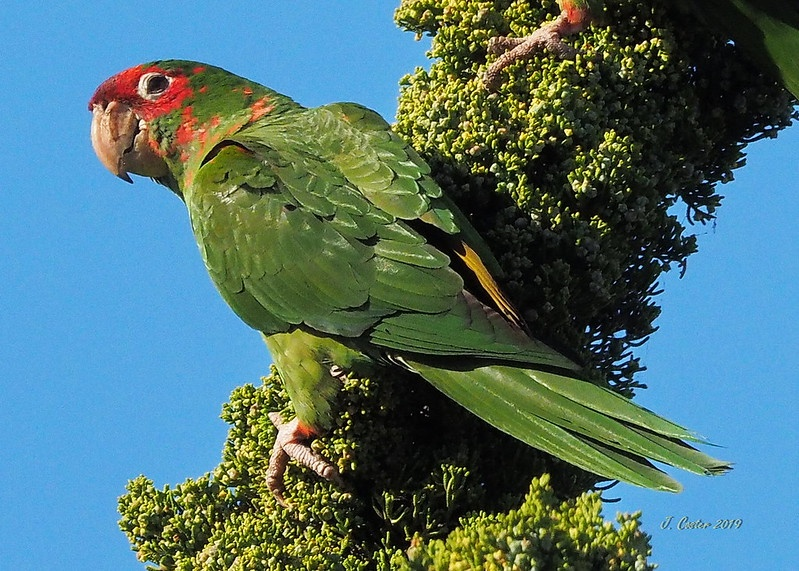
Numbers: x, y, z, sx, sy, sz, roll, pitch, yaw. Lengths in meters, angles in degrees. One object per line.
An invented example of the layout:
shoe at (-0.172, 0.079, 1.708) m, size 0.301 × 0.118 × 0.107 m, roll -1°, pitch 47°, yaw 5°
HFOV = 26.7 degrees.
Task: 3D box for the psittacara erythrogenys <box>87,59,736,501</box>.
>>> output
psittacara erythrogenys at (-0.049, 0.026, 6.970) m, size 2.744 × 0.926 × 1.891 m, roll 5°, pitch -73°, yaw 26°
